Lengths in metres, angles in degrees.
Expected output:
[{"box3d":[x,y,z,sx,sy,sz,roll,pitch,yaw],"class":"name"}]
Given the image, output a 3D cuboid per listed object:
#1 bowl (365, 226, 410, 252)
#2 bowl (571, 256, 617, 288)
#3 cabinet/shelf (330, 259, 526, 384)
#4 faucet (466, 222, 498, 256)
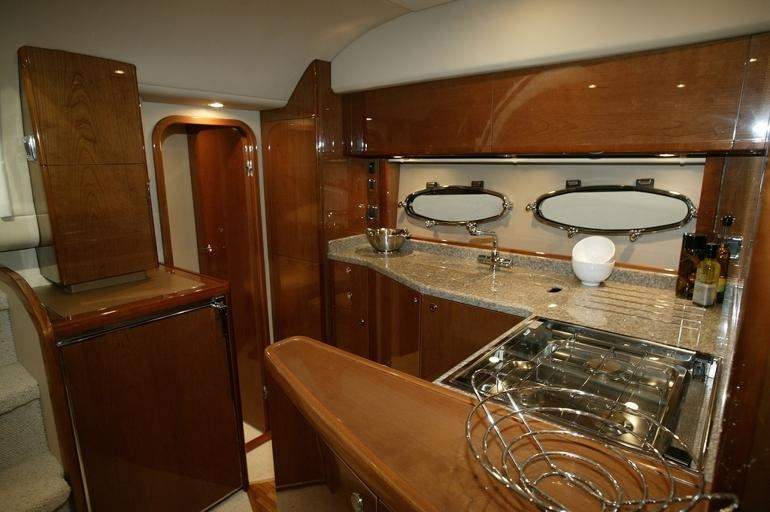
[{"box3d":[0.026,-0.113,3.910,0.312,0.172,0.190,0,15,4],"class":"bowl"},{"box3d":[1.244,0.092,3.031,0.187,0.125,0.187,-1,10,0],"class":"bowl"},{"box3d":[0.292,0.364,2.988,0.212,0.404,0.696,-2,12,-39],"class":"cabinet/shelf"},{"box3d":[0.682,-0.114,3.553,0.217,0.209,0.333,2,15,11],"class":"faucet"}]
